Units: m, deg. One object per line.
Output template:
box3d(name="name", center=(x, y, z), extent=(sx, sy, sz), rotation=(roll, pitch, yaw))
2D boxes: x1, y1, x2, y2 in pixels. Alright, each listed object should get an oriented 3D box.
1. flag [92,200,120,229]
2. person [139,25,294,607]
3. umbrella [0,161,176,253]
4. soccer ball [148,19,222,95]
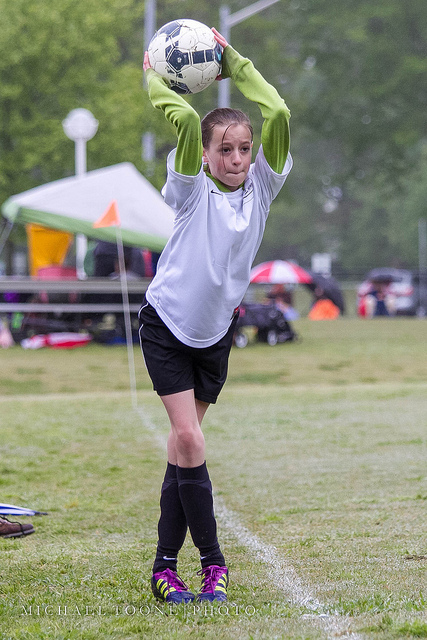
box3d(name="flag", center=(-0.902, -0.901, 10.108), extent=(0.209, 0.156, 0.032), rotation=(21, 5, -5))
box3d(name="person", center=(-0.008, 0.000, 4.132), extent=(0.430, 1.914, 0.521), rotation=(5, 8, 33))
box3d(name="umbrella", center=(-1.039, -1.184, 10.193), extent=(1.076, 0.468, 1.106), rotation=(6, -2, 30))
box3d(name="soccer ball", center=(-0.095, -0.916, 4.238), extent=(0.255, 0.294, 0.266), rotation=(-4, 9, 1))
